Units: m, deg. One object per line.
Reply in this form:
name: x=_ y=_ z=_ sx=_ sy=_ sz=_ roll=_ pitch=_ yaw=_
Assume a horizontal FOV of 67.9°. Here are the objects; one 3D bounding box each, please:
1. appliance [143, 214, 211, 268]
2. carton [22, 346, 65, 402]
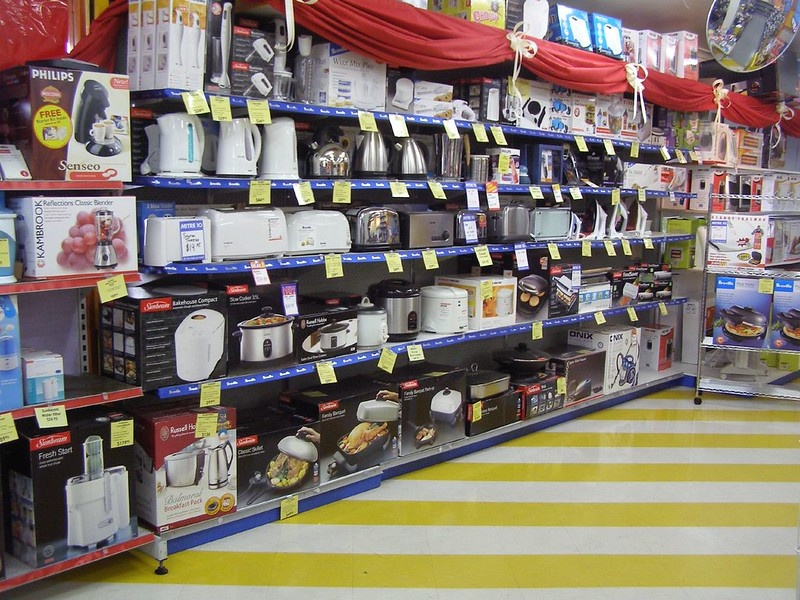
appliance: x=-1.055 y=-0.290 z=3.016 sx=0.237 sy=0.311 sz=0.435 roll=6 pitch=8 yaw=42
carton: x=-1.567 y=0.309 z=2.700 sx=0.198 sy=0.234 sz=0.258 roll=-5 pitch=7 yaw=-39
